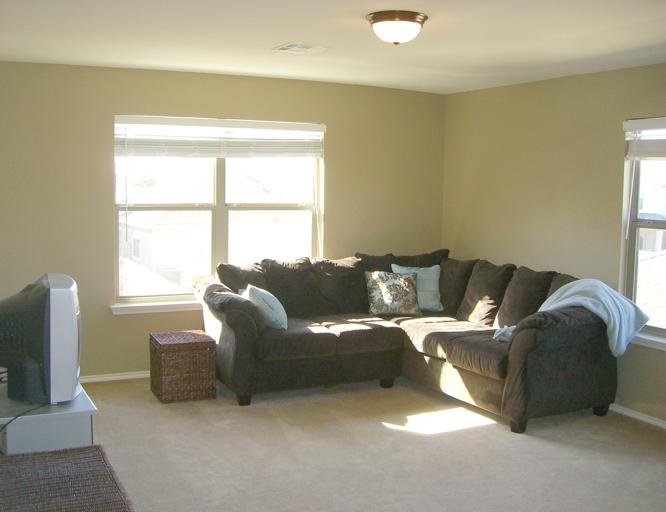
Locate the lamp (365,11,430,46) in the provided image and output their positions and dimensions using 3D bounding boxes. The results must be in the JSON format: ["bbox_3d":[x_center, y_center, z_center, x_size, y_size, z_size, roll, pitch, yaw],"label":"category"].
[{"bbox_3d":[0.421,-1.483,3.583,0.428,0.155,0.430,11,14,41],"label":"lamp"}]

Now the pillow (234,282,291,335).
[{"bbox_3d":[-0.578,0.446,4.577,0.393,0.350,0.305,1,8,3],"label":"pillow"}]
